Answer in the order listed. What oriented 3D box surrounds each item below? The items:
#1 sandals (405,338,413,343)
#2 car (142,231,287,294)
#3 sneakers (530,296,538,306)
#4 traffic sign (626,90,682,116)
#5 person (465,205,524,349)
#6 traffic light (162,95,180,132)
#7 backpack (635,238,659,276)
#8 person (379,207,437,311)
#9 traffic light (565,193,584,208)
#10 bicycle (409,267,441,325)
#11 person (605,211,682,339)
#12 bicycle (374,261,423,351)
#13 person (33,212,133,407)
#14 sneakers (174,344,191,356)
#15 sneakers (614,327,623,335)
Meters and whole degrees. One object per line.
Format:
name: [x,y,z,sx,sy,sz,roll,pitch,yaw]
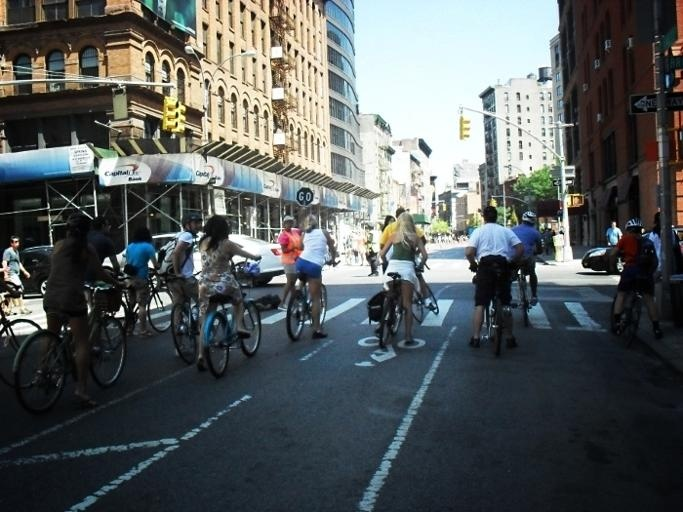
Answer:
sandals: [1.217,1.498,12.227,0.150,0.112,0.235,-1,4,3]
car: [-3.675,0.707,23.153,4.479,1.747,2.264,6,7,22]
sneakers: [4.137,1.012,14.784,0.134,0.159,0.402,-1,-15,1]
traffic sign: [6.334,-3.018,13.772,0.948,0.407,0.743,0,4,27]
person: [2.689,0.379,11.904,0.914,2.434,1.433,0,3,15]
traffic light: [-6.762,-5.513,27.148,0.592,1.301,0.681,-2,3,-14]
backpack: [5.317,0.019,11.870,0.274,0.643,0.491,0,4,29]
person: [1.076,0.399,12.635,0.859,2.567,0.837,1,0,6]
traffic light: [12.290,-2.821,35.960,0.713,0.601,1.586,1,5,32]
bicycle: [1.761,0.944,14.832,0.570,0.847,1.233,-19,-1,0]
person: [5.144,0.451,11.940,0.751,2.078,1.412,-1,3,11]
bicycle: [1.035,0.809,12.572,0.697,1.494,1.642,-1,4,8]
person: [-3.625,0.700,9.522,0.899,2.502,1.421,-1,3,3]
sneakers: [-2.677,1.555,11.264,0.248,0.120,0.275,2,0,14]
sneakers: [5.027,1.364,12.410,0.065,0.088,0.273,21,0,13]
